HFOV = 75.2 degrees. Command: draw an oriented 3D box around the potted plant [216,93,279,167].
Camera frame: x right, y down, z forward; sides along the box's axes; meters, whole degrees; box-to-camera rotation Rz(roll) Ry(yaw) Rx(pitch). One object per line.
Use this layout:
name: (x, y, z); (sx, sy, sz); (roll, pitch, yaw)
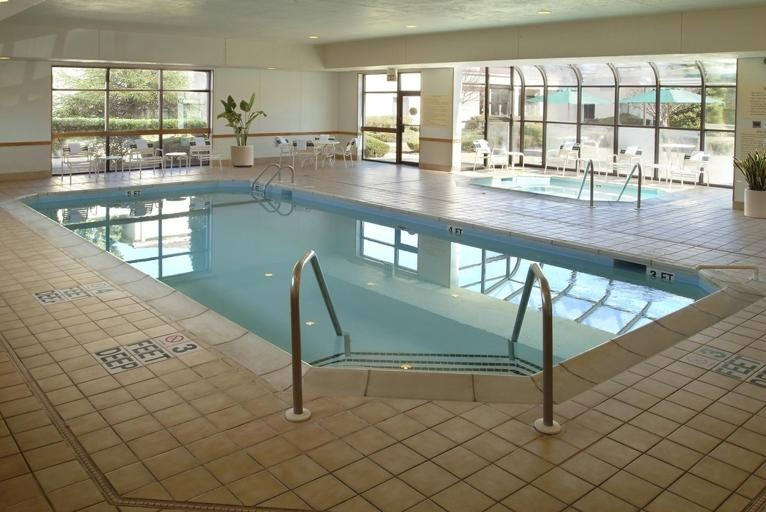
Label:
potted plant: (-4.435, -3.894, 15.536); (1.166, 2.180, 1.420); (-4, 15, -11)
